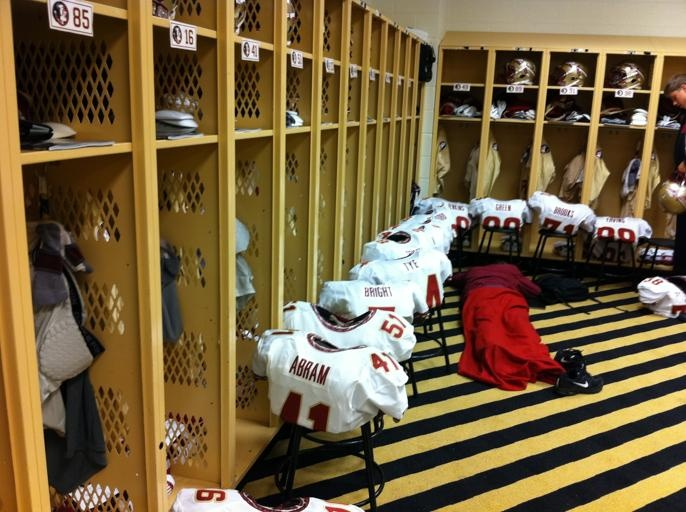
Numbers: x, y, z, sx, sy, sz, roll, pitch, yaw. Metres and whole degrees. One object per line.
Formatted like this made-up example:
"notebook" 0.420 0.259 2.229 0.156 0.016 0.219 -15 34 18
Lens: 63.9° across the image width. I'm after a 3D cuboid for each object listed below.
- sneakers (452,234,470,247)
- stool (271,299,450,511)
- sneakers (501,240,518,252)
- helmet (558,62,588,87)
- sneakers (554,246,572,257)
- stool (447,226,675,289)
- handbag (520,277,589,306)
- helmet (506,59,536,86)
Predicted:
"sneakers" 1.481 -0.184 6.853 0.262 0.162 0.184 3 14 12
"stool" 0.058 0.789 2.779 0.766 0.913 0.600 5 18 8
"sneakers" 2.082 -0.123 6.820 0.174 0.128 0.185 9 36 7
"helmet" 2.670 -2.149 6.481 0.306 0.281 0.260 6 30 8
"sneakers" 2.667 -0.067 6.696 0.152 0.095 0.106 8 24 32
"stool" 2.721 -0.056 6.614 2.242 0.647 0.928 8 14 19
"handbag" 2.221 0.357 5.837 0.841 0.223 0.398 -5 16 -28
"helmet" 2.155 -2.235 6.647 0.394 0.330 0.311 5 13 10
